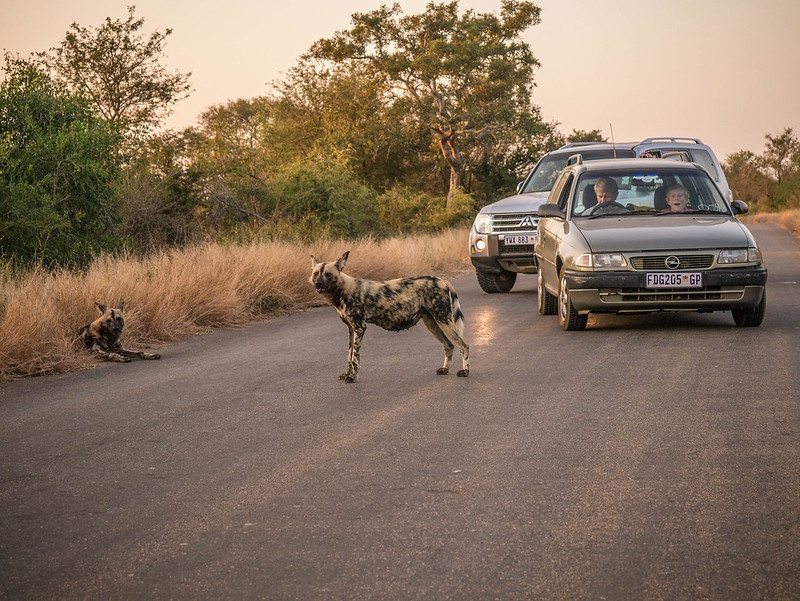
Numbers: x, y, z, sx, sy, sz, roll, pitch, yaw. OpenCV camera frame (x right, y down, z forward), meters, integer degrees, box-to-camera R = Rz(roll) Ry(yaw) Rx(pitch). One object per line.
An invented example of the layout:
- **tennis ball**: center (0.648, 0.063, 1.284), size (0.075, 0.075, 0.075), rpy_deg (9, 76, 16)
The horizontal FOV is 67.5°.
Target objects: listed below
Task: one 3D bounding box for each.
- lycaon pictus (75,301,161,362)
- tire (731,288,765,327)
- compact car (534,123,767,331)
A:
- **lycaon pictus**: center (-4.735, 0.522, 9.695), size (1.772, 0.916, 0.688), rpy_deg (0, 2, 40)
- **tire**: center (5.534, 0.105, 9.501), size (0.481, 0.651, 0.527), rpy_deg (3, 8, 41)
- **compact car**: center (4.148, -1.094, 10.335), size (3.286, 3.013, 2.990), rpy_deg (-2, 6, 3)
